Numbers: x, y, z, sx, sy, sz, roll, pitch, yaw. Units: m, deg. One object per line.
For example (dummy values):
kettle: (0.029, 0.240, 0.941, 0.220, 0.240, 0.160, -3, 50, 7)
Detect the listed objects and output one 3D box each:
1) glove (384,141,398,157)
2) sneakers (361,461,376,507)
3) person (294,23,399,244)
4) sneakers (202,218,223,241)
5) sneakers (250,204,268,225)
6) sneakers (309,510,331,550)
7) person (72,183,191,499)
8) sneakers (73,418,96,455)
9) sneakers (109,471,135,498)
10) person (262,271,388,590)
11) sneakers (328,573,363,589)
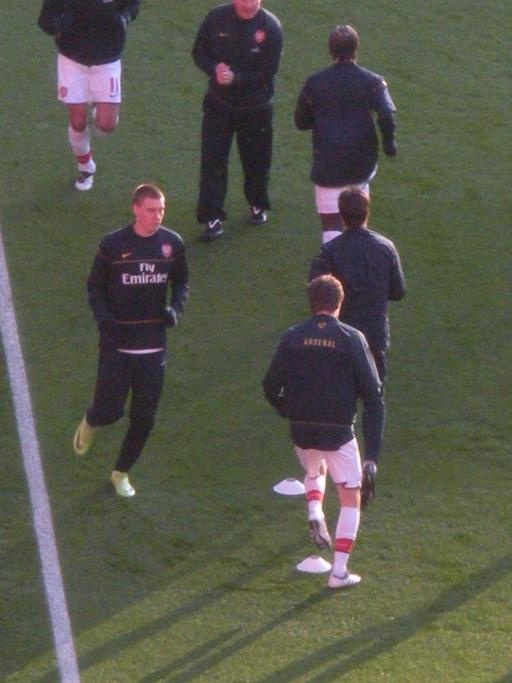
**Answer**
glove: (0.917, -1.322, 10.374, 0.084, 0.114, 0.046, -5, 38, 1)
sneakers: (0.639, 0.798, 8.610, 0.130, 0.220, 0.069, -3, 1, -14)
person: (0.636, -1.309, 10.412, 0.683, 1.688, 0.604, 1, 27, 7)
sneakers: (-0.326, -0.847, 11.452, 0.088, 0.101, 0.222, 13, 25, 8)
sneakers: (0.013, -0.951, 11.609, 0.069, 0.086, 0.192, 3, 20, 5)
sneakers: (0.360, 1.066, 8.627, 0.085, 0.237, 0.107, -18, 3, 3)
person: (-0.731, -0.033, 9.119, 0.529, 1.864, 0.616, 22, 34, 23)
sneakers: (-1.044, 0.551, 9.501, 0.099, 0.143, 0.294, 26, 34, -13)
sneakers: (-0.820, 0.872, 9.335, 0.103, 0.084, 0.188, -19, 57, -34)
person: (0.410, 0.538, 8.663, 0.816, 1.623, 0.655, 24, 35, 25)
sneakers: (0.497, 1.381, 8.753, 0.211, 0.092, 0.076, -5, 64, -25)
